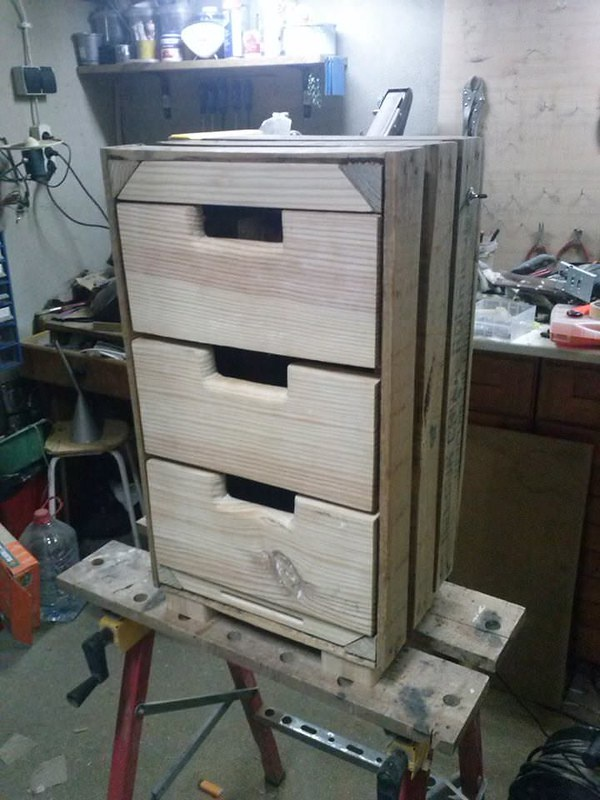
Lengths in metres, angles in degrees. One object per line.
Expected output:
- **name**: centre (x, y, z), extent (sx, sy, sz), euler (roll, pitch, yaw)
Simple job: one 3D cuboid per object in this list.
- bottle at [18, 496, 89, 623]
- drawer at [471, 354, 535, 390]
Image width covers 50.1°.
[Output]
- **bottle**: centre (-1.030, 0.693, 2.704), extent (0.226, 0.446, 0.234), euler (-8, 5, 1)
- **drawer**: centre (0.657, -0.107, 2.061), extent (0.167, 0.116, 0.075), euler (10, 13, 25)
